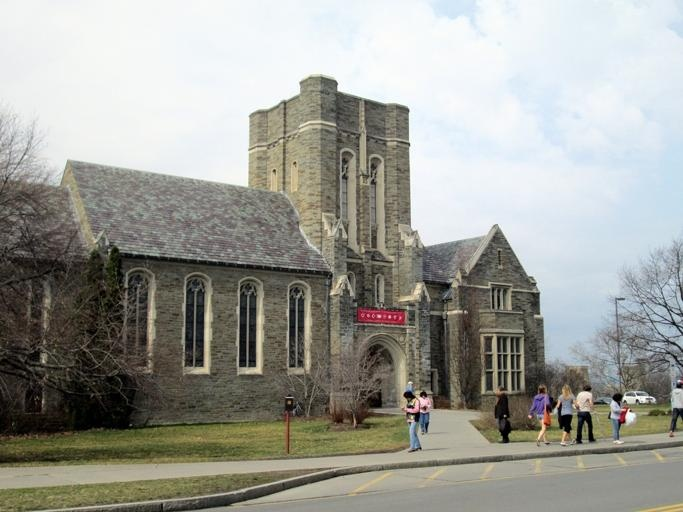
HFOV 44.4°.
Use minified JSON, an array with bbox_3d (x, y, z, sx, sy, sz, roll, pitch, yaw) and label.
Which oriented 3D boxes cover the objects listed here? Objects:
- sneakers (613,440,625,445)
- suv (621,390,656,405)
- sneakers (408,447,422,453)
[{"bbox_3d":[9.756,6.584,29.470,0.281,0.087,0.236,1,-5,-13],"label":"sneakers"},{"bbox_3d":[26.861,12.830,75.544,2.313,1.352,5.930,-4,-12,17],"label":"suv"},{"bbox_3d":[2.451,6.514,27.990,0.429,0.117,0.168,12,-19,-28],"label":"sneakers"}]
